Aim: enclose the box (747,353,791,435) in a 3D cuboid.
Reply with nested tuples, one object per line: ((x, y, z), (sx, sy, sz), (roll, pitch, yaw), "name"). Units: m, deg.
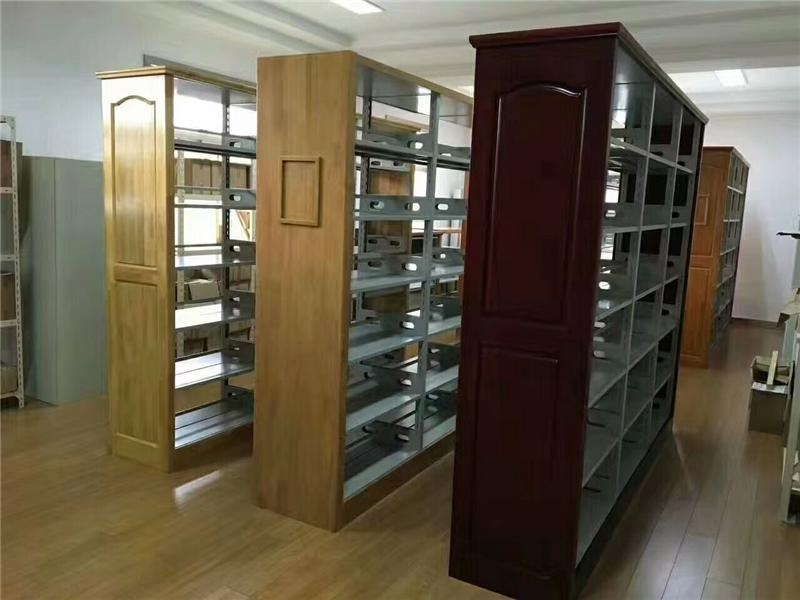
((3.139, 0.817, 5.072), (0.415, 0.703, 0.606), (2, 7, 28), "box")
